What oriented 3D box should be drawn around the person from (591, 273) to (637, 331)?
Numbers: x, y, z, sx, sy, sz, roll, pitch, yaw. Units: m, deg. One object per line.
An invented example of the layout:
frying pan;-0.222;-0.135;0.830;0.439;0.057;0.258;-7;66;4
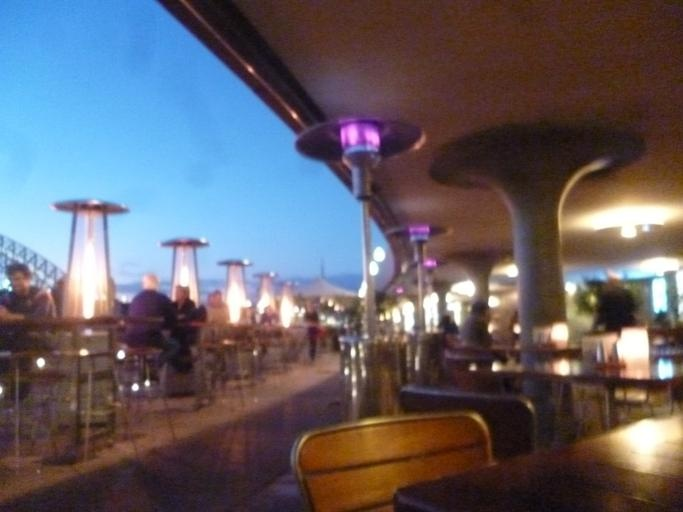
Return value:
person;3.445;0.597;7.414;0.533;0.824;0.482;5;0;16
